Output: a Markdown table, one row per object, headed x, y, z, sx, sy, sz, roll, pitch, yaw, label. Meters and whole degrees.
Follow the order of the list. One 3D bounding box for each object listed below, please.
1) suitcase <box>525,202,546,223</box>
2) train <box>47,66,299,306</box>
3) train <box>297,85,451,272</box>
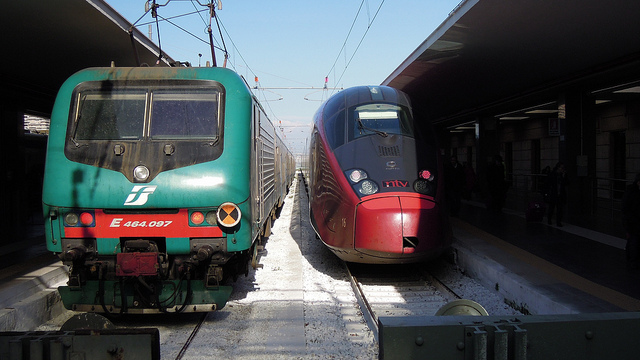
| x | y | z | sx | sy | sz | roll | pitch | yaw | label |
| --- | --- | --- | --- | --- | --- | --- | --- | --- | --- |
| 7.231 | 1.080 | 13.063 | 0.627 | 0.541 | 0.336 | -3 | 27 | 4 | suitcase |
| -3.115 | 0.145 | 7.255 | 3.494 | 4.273 | 1.083 | -5 | 8 | 1 | train |
| 1.302 | -0.048 | 8.940 | 1.928 | 2.133 | 6.833 | -1 | 5 | 0 | train |
